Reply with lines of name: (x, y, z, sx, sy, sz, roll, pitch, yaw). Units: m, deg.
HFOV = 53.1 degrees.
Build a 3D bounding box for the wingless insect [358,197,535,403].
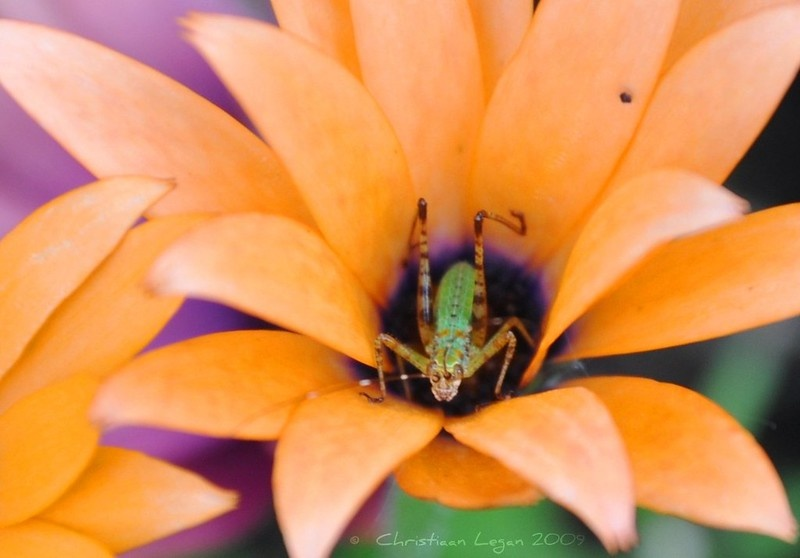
wingless insect: (0.055, 0.042, 0.750, 0.116, 0.085, 0.205, 3, 59, 6)
